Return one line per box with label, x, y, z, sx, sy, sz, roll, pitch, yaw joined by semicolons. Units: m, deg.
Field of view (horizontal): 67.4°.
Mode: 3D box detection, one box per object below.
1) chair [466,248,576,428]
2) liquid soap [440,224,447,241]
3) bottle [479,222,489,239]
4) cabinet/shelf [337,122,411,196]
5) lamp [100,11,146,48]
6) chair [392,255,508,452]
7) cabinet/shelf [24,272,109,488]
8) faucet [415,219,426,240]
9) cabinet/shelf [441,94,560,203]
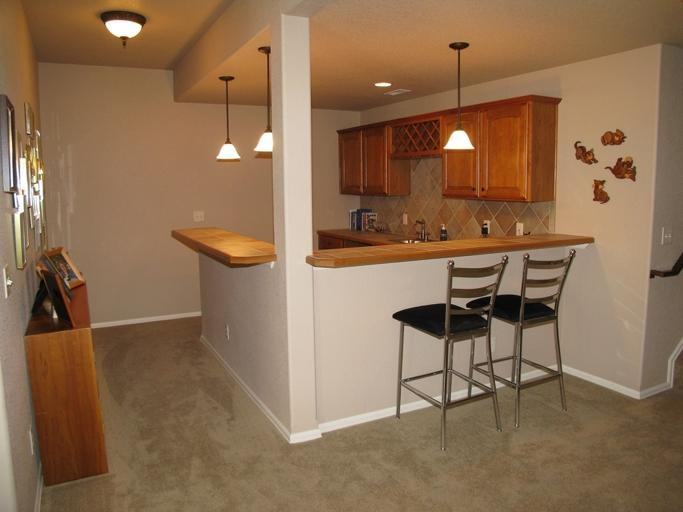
chair;1.354;0.565;3.934;0.607;1.289;0.646;-8;10;-41
liquid soap;1.130;-0.263;5.674;0.090;0.161;0.244;2;13;11
bottle;1.450;-0.272;5.189;0.089;0.145;0.183;3;14;15
cabinet/shelf;0.144;-1.217;6.531;0.379;0.848;1.018;10;17;40
lamp;-1.708;-1.768;4.013;0.350;0.247;0.273;-5;14;-19
chair;0.852;0.575;3.687;0.874;1.243;0.712;-11;17;-36
cabinet/shelf;-1.712;0.794;3.142;0.330;0.712;1.152;-6;12;-23
faucet;0.933;-0.305;5.975;0.122;0.214;0.328;0;13;4
cabinet/shelf;1.466;-1.005;4.954;0.415;0.906;1.181;-9;12;-31
